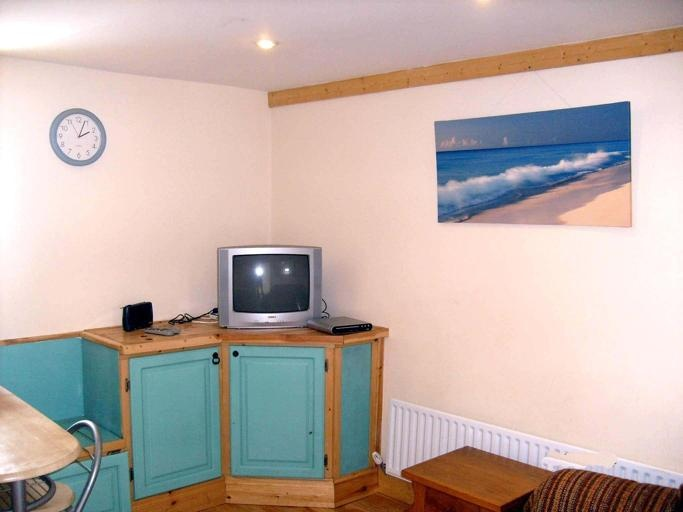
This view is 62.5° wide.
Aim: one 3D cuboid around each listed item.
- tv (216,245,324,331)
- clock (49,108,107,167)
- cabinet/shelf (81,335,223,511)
[{"bbox_3d":[-0.570,0.217,4.154,0.924,0.731,0.529,-1,1,-14],"label":"tv"},{"bbox_3d":[-1.791,-0.803,3.781,0.421,0.451,0.067,-3,8,-41],"label":"clock"},{"bbox_3d":[-1.295,1.027,4.236,1.149,1.443,0.876,4,6,42],"label":"cabinet/shelf"}]
